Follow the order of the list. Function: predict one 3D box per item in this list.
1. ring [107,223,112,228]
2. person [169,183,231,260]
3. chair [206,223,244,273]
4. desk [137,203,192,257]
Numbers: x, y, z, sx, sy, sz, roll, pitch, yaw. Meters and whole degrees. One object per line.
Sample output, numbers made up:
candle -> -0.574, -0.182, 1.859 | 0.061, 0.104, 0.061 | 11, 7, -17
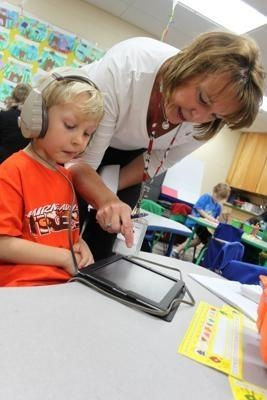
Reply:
ring -> -0.058, 0.062, 0.702 | 0.010, 0.005, 0.014 | 3, 2, 0
person -> 0.792, 0.257, 3.604 | 0.537, 0.390, 0.995 | 23, 53, 11
chair -> 0.727, 0.380, 2.325 | 0.268, 0.409, 0.293 | 17, -19, 11
desk -> 0.175, 0.232, 2.032 | 0.372, 0.182, 0.260 | 11, 18, -28
